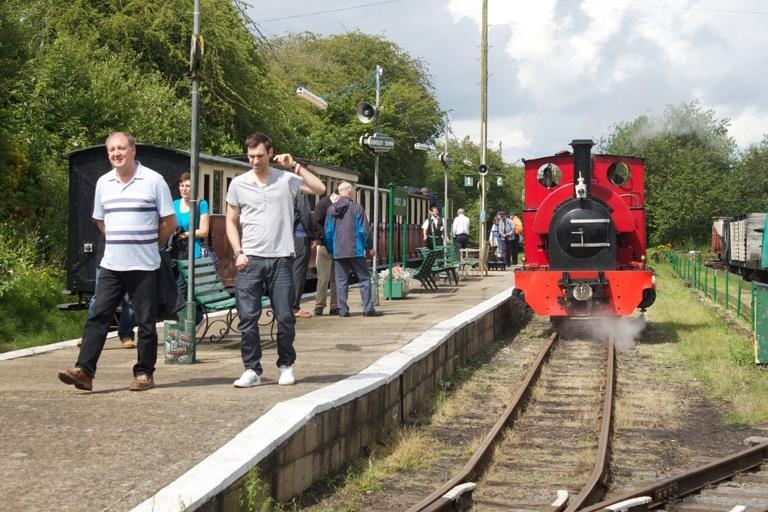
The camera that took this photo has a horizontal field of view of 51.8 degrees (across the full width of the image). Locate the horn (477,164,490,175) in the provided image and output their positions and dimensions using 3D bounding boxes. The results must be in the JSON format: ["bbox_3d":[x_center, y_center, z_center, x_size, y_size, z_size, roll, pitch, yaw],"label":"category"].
[{"bbox_3d":[3.765,-3.535,29.174,0.391,0.431,0.450,12,-10,-18],"label":"horn"}]

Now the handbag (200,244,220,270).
[{"bbox_3d":[-2.758,-0.064,12.544,0.189,0.476,0.276,-28,-15,31],"label":"handbag"}]

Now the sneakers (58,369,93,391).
[{"bbox_3d":[-3.179,1.285,8.153,0.321,0.268,0.238,0,0,-24],"label":"sneakers"}]

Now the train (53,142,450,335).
[{"bbox_3d":[-2.406,-0.992,23.475,3.262,4.155,16.762,0,1,25],"label":"train"}]

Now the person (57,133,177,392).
[{"bbox_3d":[-2.739,-0.009,8.397,1.022,2.856,0.422,0,0,-17],"label":"person"}]

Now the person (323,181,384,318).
[{"bbox_3d":[-0.603,-0.215,14.259,0.937,2.538,0.737,0,0,-5],"label":"person"}]

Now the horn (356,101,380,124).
[{"bbox_3d":[-0.293,-2.985,15.314,0.344,0.372,0.513,3,1,17],"label":"horn"}]

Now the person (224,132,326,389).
[{"bbox_3d":[-1.243,-0.006,8.586,0.892,2.843,0.305,0,0,-14],"label":"person"}]

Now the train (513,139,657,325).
[{"bbox_3d":[3.910,-0.655,15.345,2.409,3.575,1.330,0,0,9],"label":"train"}]

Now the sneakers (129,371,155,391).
[{"bbox_3d":[-2.540,1.342,8.294,0.107,0.139,0.310,-1,-9,3],"label":"sneakers"}]

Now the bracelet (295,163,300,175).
[{"bbox_3d":[-0.954,-1.070,8.790,0.080,0.122,0.043,0,-2,7],"label":"bracelet"}]

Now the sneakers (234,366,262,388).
[{"bbox_3d":[-1.471,1.317,8.538,0.291,0.197,0.196,0,0,-13],"label":"sneakers"}]
